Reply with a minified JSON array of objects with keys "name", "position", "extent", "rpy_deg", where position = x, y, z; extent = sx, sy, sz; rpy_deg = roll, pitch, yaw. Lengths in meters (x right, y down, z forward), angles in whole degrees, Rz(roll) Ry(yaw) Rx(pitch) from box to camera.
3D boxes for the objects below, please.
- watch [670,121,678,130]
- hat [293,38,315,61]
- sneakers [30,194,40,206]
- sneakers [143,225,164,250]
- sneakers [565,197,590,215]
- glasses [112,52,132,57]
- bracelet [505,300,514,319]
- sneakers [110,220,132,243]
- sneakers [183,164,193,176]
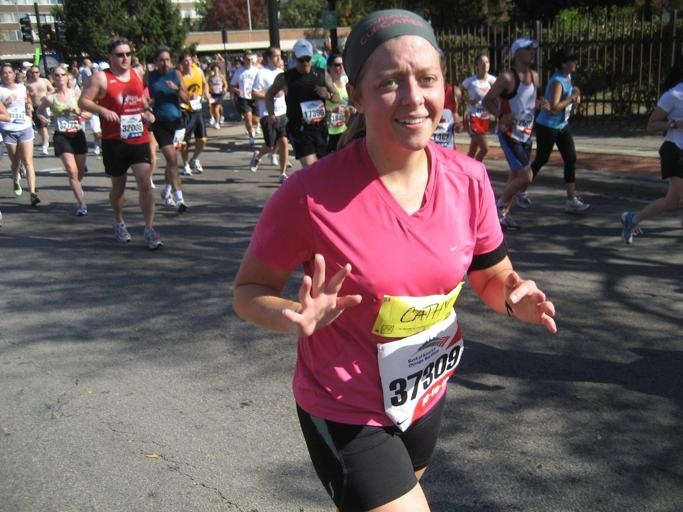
[{"name":"watch","position":[3.975,-1.586,6.663],"extent":[0.056,0.091,0.080],"rpy_deg":[5,3,8]},{"name":"hat","position":[-0.641,-3.329,8.868],"extent":[0.253,0.230,0.378],"rpy_deg":[-5,25,-12]},{"name":"sneakers","position":[-5.913,-1.091,10.657],"extent":[0.093,0.275,0.194],"rpy_deg":[-4,52,-25]},{"name":"sneakers","position":[-2.659,-0.301,7.817],"extent":[0.227,0.274,0.533],"rpy_deg":[-7,17,-20]},{"name":"sneakers","position":[3.557,-0.782,8.472],"extent":[0.411,0.239,0.175],"rpy_deg":[2,20,12]},{"name":"glasses","position":[-3.050,-2.834,7.746],"extent":[0.086,0.078,0.225],"rpy_deg":[7,19,29]},{"name":"bracelet","position":[0.611,0.195,2.030],"extent":[0.036,0.050,0.037],"rpy_deg":[-5,-18,26]},{"name":"sneakers","position":[-3.220,-0.339,8.097],"extent":[0.156,0.191,0.459],"rpy_deg":[-23,61,-15]},{"name":"sneakers","position":[-3.683,-2.039,13.128],"extent":[0.169,0.256,0.554],"rpy_deg":[-2,-1,-8]}]
